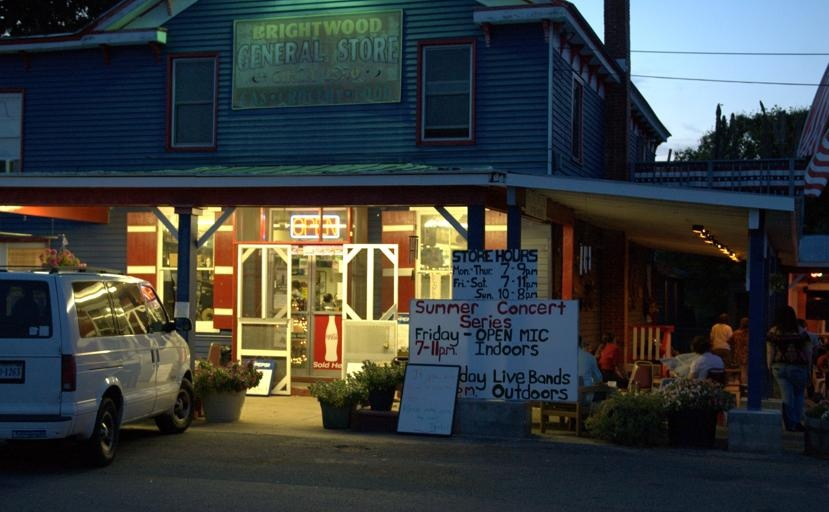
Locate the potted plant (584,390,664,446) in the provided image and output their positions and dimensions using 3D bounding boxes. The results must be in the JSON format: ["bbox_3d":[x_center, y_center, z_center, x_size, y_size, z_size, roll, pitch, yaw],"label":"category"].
[{"bbox_3d":[4.137,3.143,19.091,1.072,0.734,1.051,-2,-1,-29],"label":"potted plant"}]

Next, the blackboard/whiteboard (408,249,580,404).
[{"bbox_3d":[1.657,1.518,20.155,3.422,2.998,0.275,0,-5,12],"label":"blackboard/whiteboard"}]

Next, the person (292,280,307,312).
[{"bbox_3d":[-2.869,0.984,24.456,0.382,0.727,0.153,1,9,3],"label":"person"}]

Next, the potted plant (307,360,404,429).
[{"bbox_3d":[-1.205,2.866,20.278,1.822,1.177,0.673,-1,10,-13],"label":"potted plant"}]

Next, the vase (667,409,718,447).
[{"bbox_3d":[5.317,3.298,18.914,0.780,0.773,0.796,1,-7,6],"label":"vase"}]

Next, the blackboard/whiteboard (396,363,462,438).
[{"bbox_3d":[0.308,2.901,19.640,1.348,1.665,0.136,5,-26,11],"label":"blackboard/whiteboard"}]

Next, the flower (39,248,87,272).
[{"bbox_3d":[-7.416,0.076,20.669,0.458,0.314,0.621,-1,-5,19],"label":"flower"}]

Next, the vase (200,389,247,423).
[{"bbox_3d":[-4.013,3.107,20.577,0.677,0.469,0.678,1,-10,-3],"label":"vase"}]
